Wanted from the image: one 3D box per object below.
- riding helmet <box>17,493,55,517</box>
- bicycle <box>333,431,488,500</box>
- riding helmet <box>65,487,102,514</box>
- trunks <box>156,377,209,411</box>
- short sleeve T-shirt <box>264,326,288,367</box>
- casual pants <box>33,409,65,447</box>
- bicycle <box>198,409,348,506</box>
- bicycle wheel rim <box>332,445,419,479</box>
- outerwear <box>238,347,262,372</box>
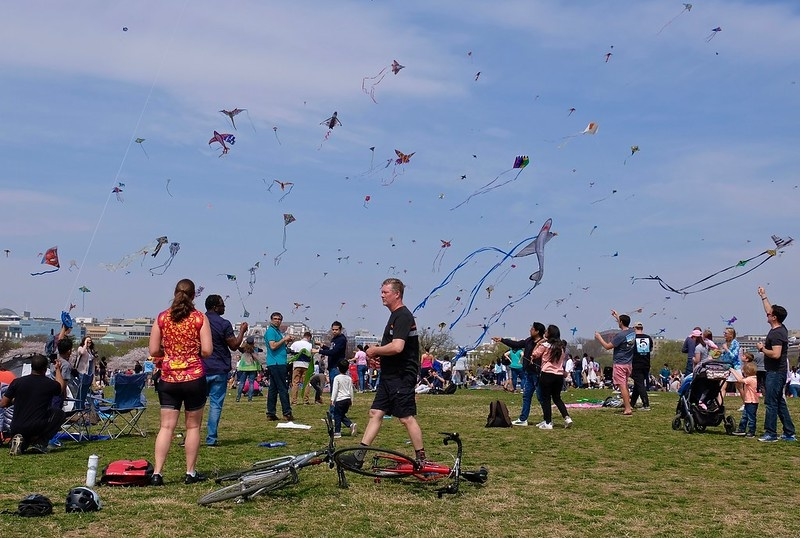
[{"bbox_3d":[-4.649,3.027,10.470,0.422,0.227,0.269,0,1,-24],"label":"riding helmet"},{"bbox_3d":[0.145,2.862,11.794,1.948,0.939,1.124,3,-20,4],"label":"bicycle"},{"bbox_3d":[-4.078,3.005,10.592,0.283,0.254,0.378,8,-15,-3],"label":"riding helmet"},{"bbox_3d":[-3.070,1.682,11.690,0.704,0.507,0.458,1,10,-9],"label":"trunks"},{"bbox_3d":[-2.630,1.703,17.669,0.686,1.169,1.108,-1,-5,-7],"label":"short sleeve T-shirt"},{"bbox_3d":[-5.936,2.731,13.971,0.314,0.530,0.189,42,-10,-27],"label":"casual pants"},{"bbox_3d":[-1.766,2.612,11.379,0.950,0.798,1.630,-3,10,25],"label":"bicycle"},{"bbox_3d":[-0.325,2.658,11.788,1.149,0.681,0.565,1,27,2],"label":"bicycle wheel rim"},{"bbox_3d":[-4.247,2.654,23.115,0.876,0.836,0.572,3,-20,-8],"label":"outerwear"}]
